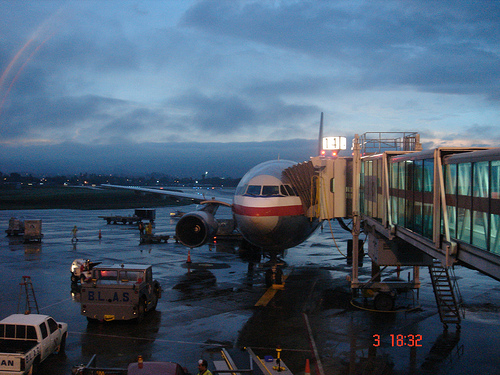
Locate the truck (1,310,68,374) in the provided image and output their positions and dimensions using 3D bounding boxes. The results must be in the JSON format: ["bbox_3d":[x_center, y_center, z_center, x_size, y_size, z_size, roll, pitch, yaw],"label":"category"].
[{"bbox_3d":[-8.116,5.510,18.919,1.440,1.047,2.535,2,9,6],"label":"truck"}]

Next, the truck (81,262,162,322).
[{"bbox_3d":[-6.002,4.811,24.418,3.377,2.049,4.321,1,-1,9],"label":"truck"}]
